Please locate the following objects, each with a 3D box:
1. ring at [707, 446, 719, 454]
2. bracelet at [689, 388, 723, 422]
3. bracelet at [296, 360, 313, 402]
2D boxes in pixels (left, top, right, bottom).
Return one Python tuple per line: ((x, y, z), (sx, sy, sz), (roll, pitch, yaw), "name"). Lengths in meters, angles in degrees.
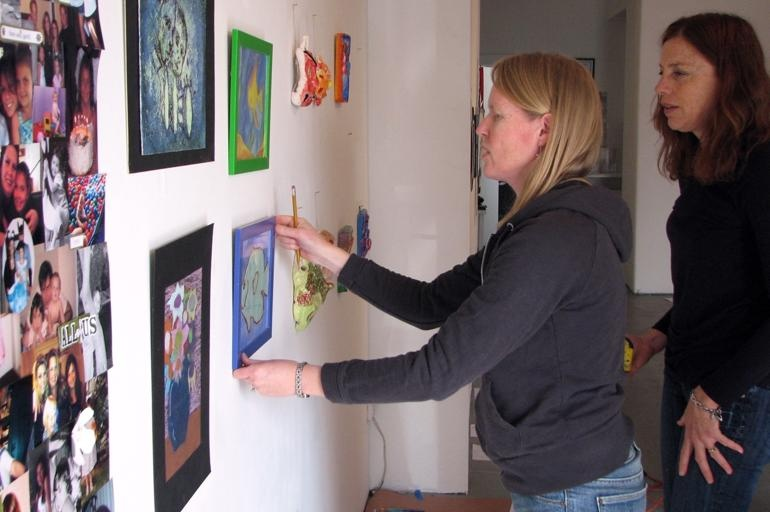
((1.088, 0.637, 2.084), (0.023, 0.007, 0.024), (-3, 13, 1), "ring")
((1.057, 0.484, 2.067), (0.098, 0.075, 0.024), (45, 49, 15), "bracelet")
((-0.203, 0.306, 1.549), (0.030, 0.088, 0.051), (0, 6, 14), "bracelet")
